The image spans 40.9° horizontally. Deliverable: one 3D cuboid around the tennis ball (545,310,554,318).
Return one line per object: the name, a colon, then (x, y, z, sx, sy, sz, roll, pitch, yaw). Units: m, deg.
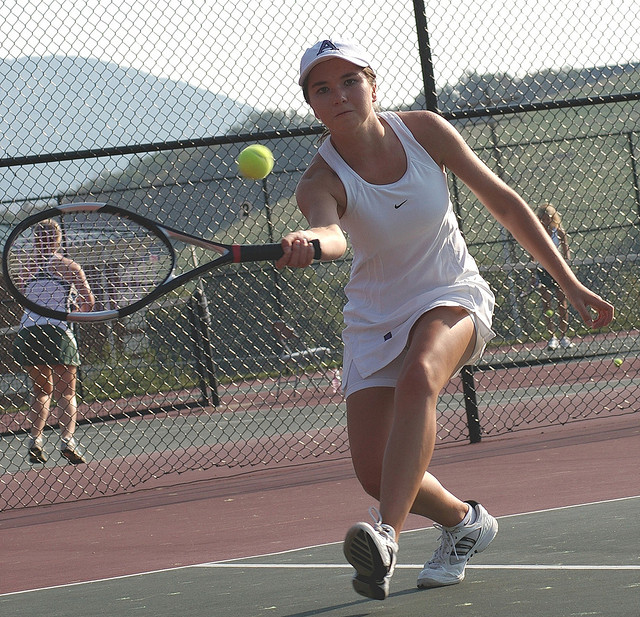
tennis ball: (2.208, 0.045, 8.253, 0.105, 0.056, 0.112, -1, 0, 0)

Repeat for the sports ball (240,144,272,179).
sports ball: (-0.322, -0.745, 4.340, 0.162, 0.170, 0.226, -7, 7, -2)

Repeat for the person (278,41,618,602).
person: (0.253, -0.056, 2.509, 1.011, 1.492, 0.535, -13, 9, -38)

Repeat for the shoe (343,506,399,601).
shoe: (0.149, 0.606, 2.166, 0.106, 0.263, 0.132, 5, 35, 29)

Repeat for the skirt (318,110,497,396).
skirt: (0.255, -0.188, 2.597, 0.464, 0.833, 0.313, -6, 8, 15)

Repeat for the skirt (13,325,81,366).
skirt: (-1.697, 0.229, 5.319, 0.386, 0.237, 0.006, 0, -10, -5)
